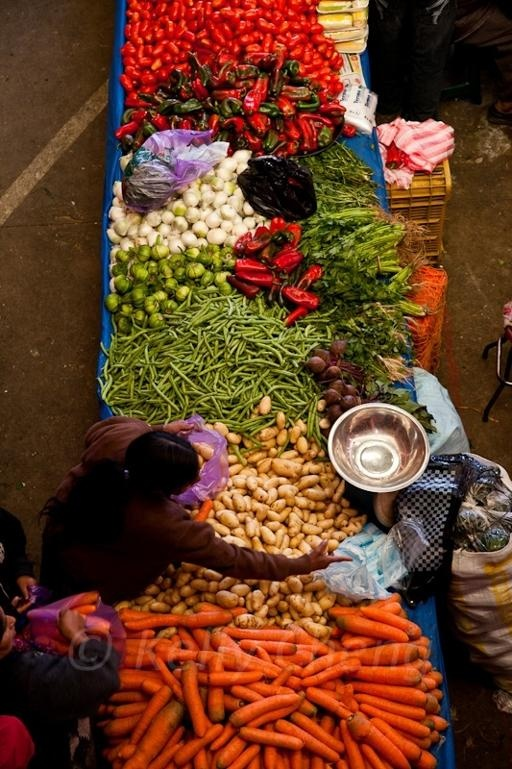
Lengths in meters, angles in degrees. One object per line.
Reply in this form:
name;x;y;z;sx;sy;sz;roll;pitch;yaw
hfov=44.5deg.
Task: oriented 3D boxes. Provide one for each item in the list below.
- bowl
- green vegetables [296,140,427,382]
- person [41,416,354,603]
bowl;0.532;0.282;2.721;0.418;0.160;0.420;-2;71;7
green vegetables;0.539;-0.722;3.460;0.593;0.382;1.368;-31;61;29
person;-0.362;0.593;2.605;0.911;1.425;0.846;-7;56;-22
